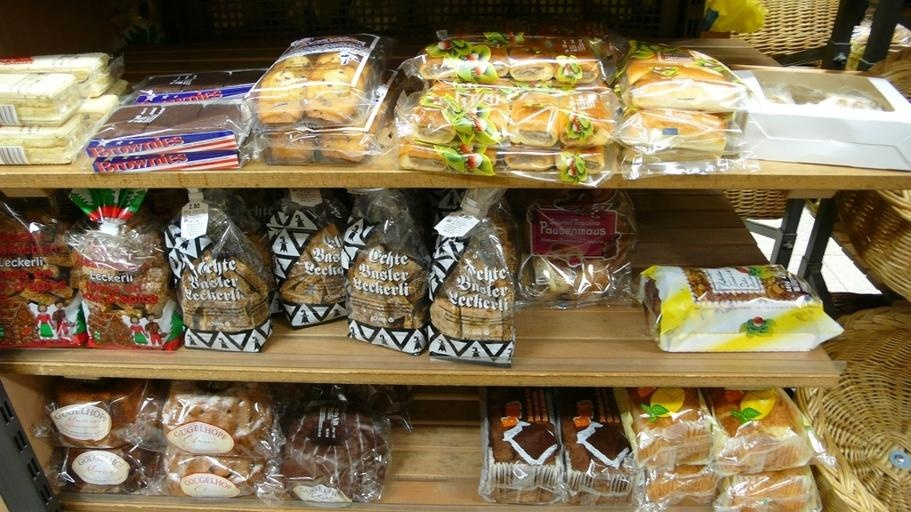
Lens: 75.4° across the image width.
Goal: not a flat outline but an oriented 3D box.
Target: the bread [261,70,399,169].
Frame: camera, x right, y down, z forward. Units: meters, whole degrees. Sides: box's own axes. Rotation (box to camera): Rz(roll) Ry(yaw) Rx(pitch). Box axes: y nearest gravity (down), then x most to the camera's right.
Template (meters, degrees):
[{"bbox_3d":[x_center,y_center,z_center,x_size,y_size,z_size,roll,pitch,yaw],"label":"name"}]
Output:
[{"bbox_3d":[-0.356,-0.429,1.813,0.323,0.297,0.088,3,-13,7],"label":"bread"}]

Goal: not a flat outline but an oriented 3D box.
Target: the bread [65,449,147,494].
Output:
[{"bbox_3d":[-1.287,0.762,2.167,0.216,0.244,0.062,0,29,-13],"label":"bread"}]

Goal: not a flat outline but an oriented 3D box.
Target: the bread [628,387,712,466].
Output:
[{"bbox_3d":[0.775,0.579,2.127,0.308,0.110,0.375,-15,20,9],"label":"bread"}]

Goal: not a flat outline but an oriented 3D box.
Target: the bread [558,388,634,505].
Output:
[{"bbox_3d":[0.494,0.663,2.075,0.250,0.133,0.373,-2,47,3],"label":"bread"}]

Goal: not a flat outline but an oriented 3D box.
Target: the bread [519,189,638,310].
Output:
[{"bbox_3d":[0.426,-0.030,2.027,0.505,0.384,0.127,-3,10,-5],"label":"bread"}]

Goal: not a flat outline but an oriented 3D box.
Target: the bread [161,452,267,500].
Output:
[{"bbox_3d":[-0.860,0.793,2.125,0.339,0.147,0.096,1,11,0],"label":"bread"}]

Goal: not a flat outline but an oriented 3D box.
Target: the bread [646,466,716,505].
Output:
[{"bbox_3d":[0.790,0.794,2.071,0.232,0.148,0.069,0,47,0],"label":"bread"}]

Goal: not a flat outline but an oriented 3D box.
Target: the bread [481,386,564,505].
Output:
[{"bbox_3d":[0.227,0.662,2.100,0.283,0.139,0.389,1,45,2],"label":"bread"}]

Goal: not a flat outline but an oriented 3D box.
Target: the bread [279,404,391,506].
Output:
[{"bbox_3d":[-0.438,0.722,2.185,0.402,0.307,0.121,6,-10,-3],"label":"bread"}]

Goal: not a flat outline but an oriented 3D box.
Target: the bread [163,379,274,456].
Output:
[{"bbox_3d":[-0.841,0.584,2.112,0.331,0.110,0.302,10,41,-5],"label":"bread"}]

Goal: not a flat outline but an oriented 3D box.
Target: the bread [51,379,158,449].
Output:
[{"bbox_3d":[-1.304,0.587,2.253,0.411,0.207,0.338,3,-3,-19],"label":"bread"}]

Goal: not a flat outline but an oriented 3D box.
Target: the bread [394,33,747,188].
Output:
[{"bbox_3d":[0.326,-0.416,1.796,0.881,0.205,0.473,3,65,1],"label":"bread"}]

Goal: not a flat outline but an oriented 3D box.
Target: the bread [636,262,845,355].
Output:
[{"bbox_3d":[0.948,0.184,1.982,0.519,0.140,0.312,2,32,1],"label":"bread"}]

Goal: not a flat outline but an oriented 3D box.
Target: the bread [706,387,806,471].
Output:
[{"bbox_3d":[1.119,0.607,2.132,0.352,0.124,0.415,-15,5,28],"label":"bread"}]
